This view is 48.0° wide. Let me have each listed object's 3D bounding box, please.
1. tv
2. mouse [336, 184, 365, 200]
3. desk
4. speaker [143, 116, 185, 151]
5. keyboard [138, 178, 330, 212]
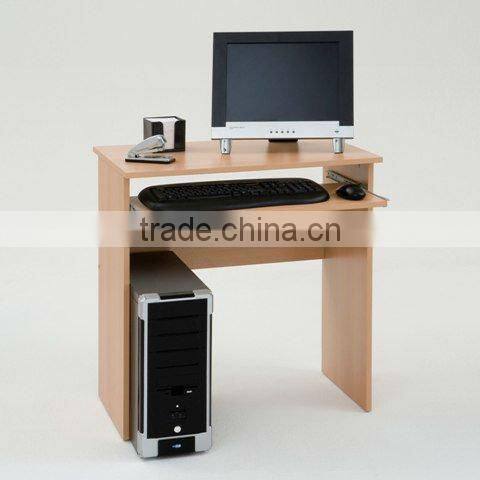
[{"bbox_3d":[0.178,-0.638,2.268,0.751,0.734,0.276,0,-2,-3],"label":"tv"},{"bbox_3d":[0.443,-0.199,2.135,0.059,0.031,0.088,0,15,-3],"label":"mouse"},{"bbox_3d":[-0.050,0.013,2.591,1.221,1.340,1.242,-1,5,-6],"label":"desk"},{"bbox_3d":[-0.313,-0.416,2.366,0.202,0.220,0.157,-2,6,-23],"label":"speaker"},{"bbox_3d":[-0.027,-0.184,2.149,0.743,0.098,0.362,-3,11,-17],"label":"keyboard"}]
